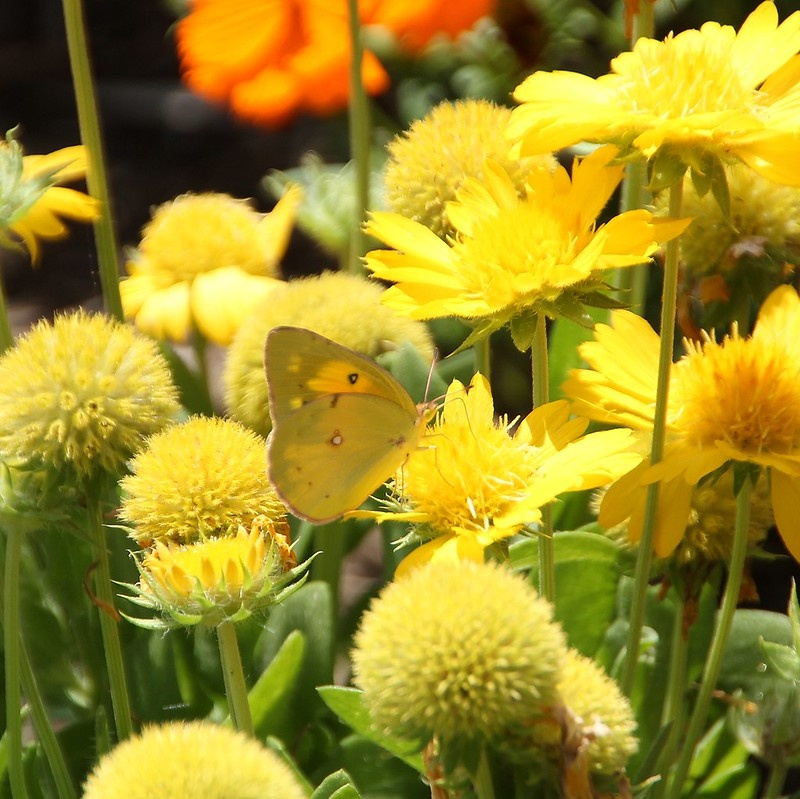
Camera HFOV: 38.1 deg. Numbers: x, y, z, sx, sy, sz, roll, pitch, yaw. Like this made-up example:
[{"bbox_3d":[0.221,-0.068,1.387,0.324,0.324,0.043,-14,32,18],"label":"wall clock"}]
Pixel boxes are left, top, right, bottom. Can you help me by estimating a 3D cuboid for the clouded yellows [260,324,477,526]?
[{"bbox_3d":[-0.027,-0.003,0.968,0.192,0.178,0.122,1,10,-9],"label":"clouded yellows"}]
